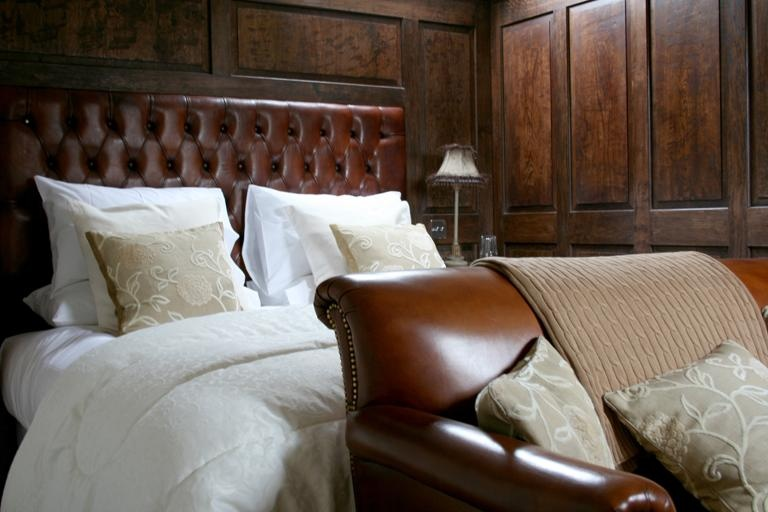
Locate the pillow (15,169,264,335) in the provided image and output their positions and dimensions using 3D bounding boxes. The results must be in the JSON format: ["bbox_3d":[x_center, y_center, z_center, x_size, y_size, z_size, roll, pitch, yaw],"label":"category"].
[{"bbox_3d":[-1.392,-0.053,3.058,1.049,0.755,0.763,-5,10,-30],"label":"pillow"}]

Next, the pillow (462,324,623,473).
[{"bbox_3d":[0.445,0.431,1.606,0.106,0.360,0.353,-39,-14,29],"label":"pillow"}]
